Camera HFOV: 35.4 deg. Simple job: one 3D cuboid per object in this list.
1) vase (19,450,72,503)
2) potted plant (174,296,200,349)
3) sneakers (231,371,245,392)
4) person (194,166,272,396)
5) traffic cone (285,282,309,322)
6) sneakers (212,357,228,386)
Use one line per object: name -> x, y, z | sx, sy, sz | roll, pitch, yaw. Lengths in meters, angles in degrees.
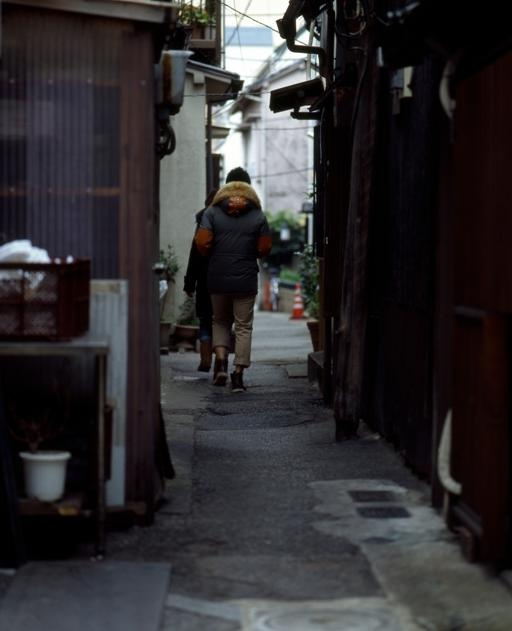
vase -> -0.895, 0.645, 3.426 | 0.202, 0.251, 0.249 | 3, 19, -16
potted plant -> -0.915, -0.004, 11.106 | 0.321, 0.923, 0.384 | 10, 11, 20
sneakers -> -0.177, 0.613, 7.478 | 0.068, 0.184, 0.224 | 1, 5, 7
person -> -0.218, -0.276, 7.536 | 0.681, 1.945, 0.325 | 0, 3, 0
traffic cone -> 0.917, -0.340, 19.746 | 0.624, 1.160, 0.687 | 4, 8, 33
sneakers -> -0.332, 0.534, 7.602 | 0.083, 0.239, 0.285 | 0, -3, -1
